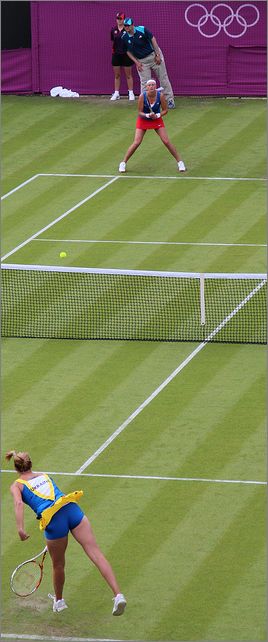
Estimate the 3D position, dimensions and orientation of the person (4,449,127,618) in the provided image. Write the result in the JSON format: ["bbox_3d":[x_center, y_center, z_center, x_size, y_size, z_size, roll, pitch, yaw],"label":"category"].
[{"bbox_3d":[-0.556,1.794,6.312,0.480,0.818,1.271,-13,55,-25],"label":"person"}]

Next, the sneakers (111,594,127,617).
[{"bbox_3d":[-0.100,1.978,5.361,0.066,0.196,0.082,-2,43,-11],"label":"sneakers"}]

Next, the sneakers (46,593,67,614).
[{"bbox_3d":[-0.582,2.135,5.830,0.063,0.134,0.194,-16,4,-22],"label":"sneakers"}]

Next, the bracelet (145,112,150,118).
[{"bbox_3d":[0.289,-4.247,15.923,0.072,0.084,0.179,-12,22,-29],"label":"bracelet"}]

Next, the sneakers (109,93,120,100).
[{"bbox_3d":[-0.573,-6.579,22.566,0.320,0.240,0.126,-8,14,-29],"label":"sneakers"}]

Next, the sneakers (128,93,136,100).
[{"bbox_3d":[-0.064,-6.539,22.415,0.171,0.247,0.540,-1,11,-2],"label":"sneakers"}]

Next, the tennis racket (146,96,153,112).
[{"bbox_3d":[0.340,-4.474,15.994,0.116,0.281,0.136,5,20,18],"label":"tennis racket"}]

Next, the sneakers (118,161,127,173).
[{"bbox_3d":[-0.258,-3.530,17.665,0.189,0.271,0.597,2,12,2],"label":"sneakers"}]

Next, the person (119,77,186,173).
[{"bbox_3d":[0.379,-4.145,16.262,1.386,2.057,0.981,-2,27,-3],"label":"person"}]
